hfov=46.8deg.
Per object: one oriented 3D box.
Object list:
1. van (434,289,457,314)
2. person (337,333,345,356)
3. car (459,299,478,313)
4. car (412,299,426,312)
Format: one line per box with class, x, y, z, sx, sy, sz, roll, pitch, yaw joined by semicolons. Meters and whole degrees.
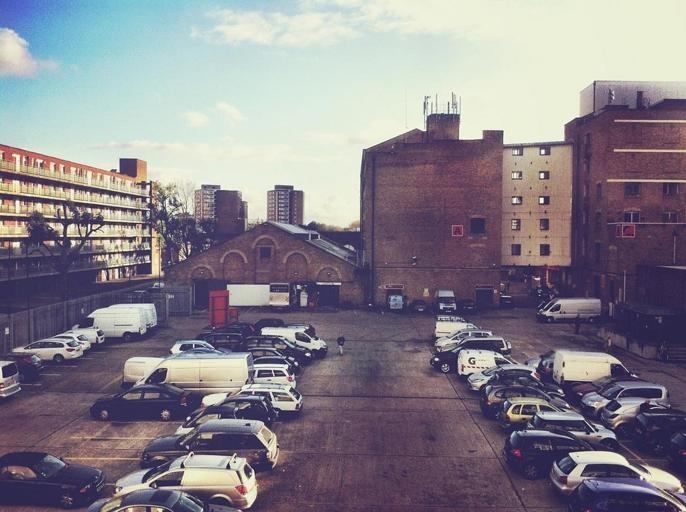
van;10.455;4.619;80.218;1.898;2.168;3.254;-1;2;-1
person;-0.228;7.149;63.452;0.335;1.012;0.944;-5;36;2
car;12.514;5.043;79.675;1.893;1.299;1.827;-1;2;1
car;7.726;5.118;81.213;1.046;0.753;1.852;0;2;1
